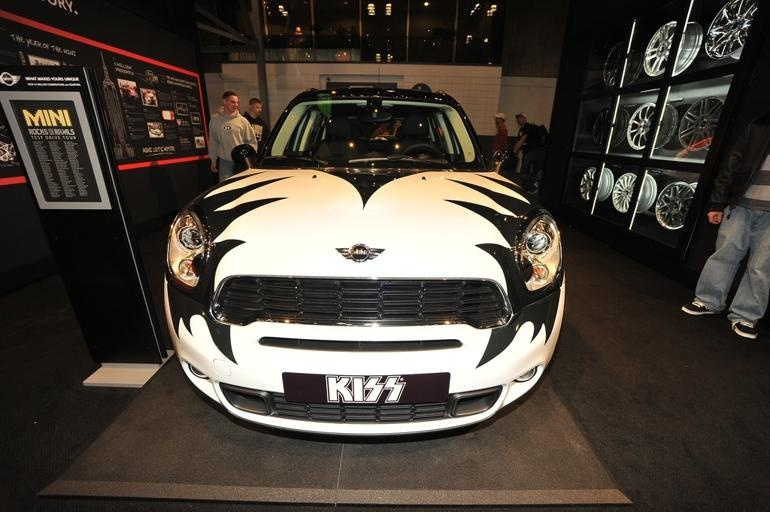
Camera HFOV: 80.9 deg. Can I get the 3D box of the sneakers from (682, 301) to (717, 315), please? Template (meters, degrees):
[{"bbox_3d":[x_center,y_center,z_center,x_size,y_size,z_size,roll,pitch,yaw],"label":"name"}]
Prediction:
[{"bbox_3d":[2.980,0.494,4.253,0.285,0.116,0.113,-1,18,13],"label":"sneakers"}]

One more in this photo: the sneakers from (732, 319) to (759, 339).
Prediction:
[{"bbox_3d":[3.158,0.628,3.986,0.106,0.113,0.260,-7,16,7],"label":"sneakers"}]

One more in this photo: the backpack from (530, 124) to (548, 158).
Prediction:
[{"bbox_3d":[2.928,-2.159,8.541,0.407,0.589,0.208,2,11,4],"label":"backpack"}]

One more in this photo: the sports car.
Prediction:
[{"bbox_3d":[-0.083,-0.223,3.406,2.561,1.902,2.314,1,22,5],"label":"sports car"}]
